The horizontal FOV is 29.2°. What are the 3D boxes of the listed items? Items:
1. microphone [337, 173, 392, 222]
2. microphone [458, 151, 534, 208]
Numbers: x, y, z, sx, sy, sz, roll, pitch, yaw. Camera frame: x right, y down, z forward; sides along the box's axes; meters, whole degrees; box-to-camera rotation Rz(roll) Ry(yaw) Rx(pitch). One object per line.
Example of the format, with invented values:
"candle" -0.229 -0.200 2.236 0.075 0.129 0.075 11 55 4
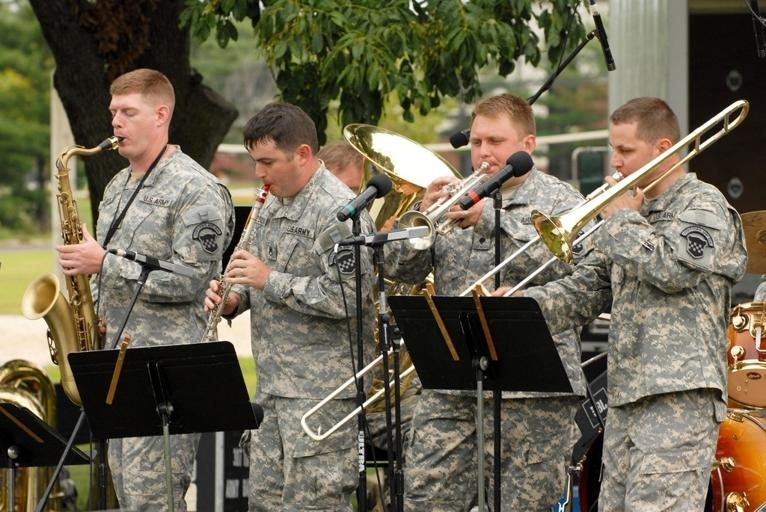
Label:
"microphone" -0.104 -0.392 9.708 0.174 0.153 0.548 23 42 27
"microphone" 0.794 -0.538 9.737 0.783 0.191 0.212 -31 40 -31
